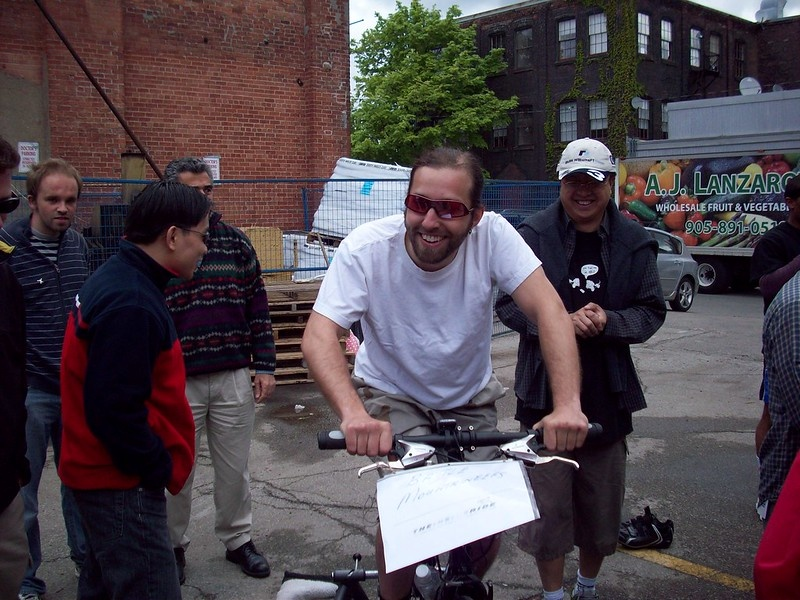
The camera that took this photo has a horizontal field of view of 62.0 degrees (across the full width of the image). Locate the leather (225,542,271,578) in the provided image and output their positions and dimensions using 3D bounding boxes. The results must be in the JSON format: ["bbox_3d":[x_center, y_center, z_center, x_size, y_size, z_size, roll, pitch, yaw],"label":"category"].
[{"bbox_3d":[-1.030,1.739,4.549,0.146,0.190,0.357,-8,6,-41],"label":"leather"}]

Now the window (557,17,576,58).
[{"bbox_3d":[8.059,-12.596,32.120,0.239,1.774,0.936,-8,12,-44],"label":"window"}]

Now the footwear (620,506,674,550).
[{"bbox_3d":[1.750,1.688,4.896,0.542,0.312,0.204,7,-14,-6],"label":"footwear"}]

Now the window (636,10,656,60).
[{"bbox_3d":[11.583,-12.623,31.510,0.156,2.828,1.963,5,17,36],"label":"window"}]

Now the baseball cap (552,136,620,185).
[{"bbox_3d":[1.090,-0.815,3.930,0.225,0.198,0.342,3,9,23],"label":"baseball cap"}]
